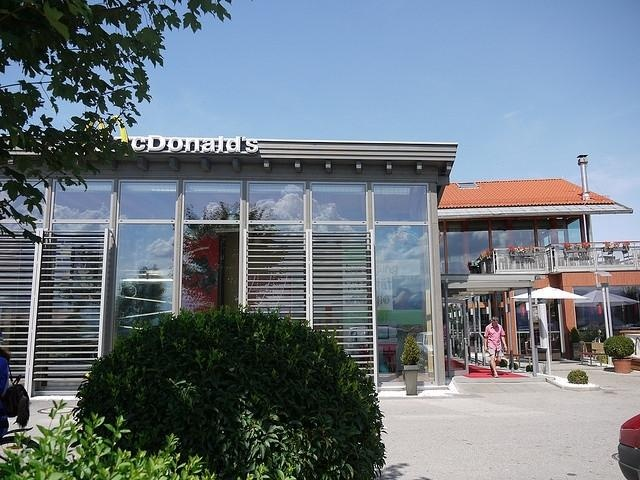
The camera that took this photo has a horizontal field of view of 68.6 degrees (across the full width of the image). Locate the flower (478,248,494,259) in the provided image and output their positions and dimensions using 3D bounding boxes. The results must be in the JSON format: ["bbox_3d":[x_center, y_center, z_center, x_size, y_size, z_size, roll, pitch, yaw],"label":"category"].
[{"bbox_3d":[10.179,0.748,28.999,0.633,0.278,0.783,1,-9,-15],"label":"flower"}]

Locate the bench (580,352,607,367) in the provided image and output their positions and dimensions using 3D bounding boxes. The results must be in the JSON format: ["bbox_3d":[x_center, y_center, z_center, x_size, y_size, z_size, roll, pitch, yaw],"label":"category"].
[{"bbox_3d":[13.153,5.672,22.524,0.518,0.356,1.528,0,-7,8],"label":"bench"}]

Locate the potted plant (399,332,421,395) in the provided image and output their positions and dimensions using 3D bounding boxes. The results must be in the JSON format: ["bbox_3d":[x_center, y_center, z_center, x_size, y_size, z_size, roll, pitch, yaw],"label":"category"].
[{"bbox_3d":[2.503,3.421,13.035,0.509,1.627,0.553,-1,-9,10],"label":"potted plant"}]

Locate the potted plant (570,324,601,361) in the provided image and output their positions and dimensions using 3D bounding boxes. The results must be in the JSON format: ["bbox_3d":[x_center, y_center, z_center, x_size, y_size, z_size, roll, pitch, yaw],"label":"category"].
[{"bbox_3d":[13.730,5.177,24.369,1.168,1.342,1.093,-8,-7,-1],"label":"potted plant"}]
